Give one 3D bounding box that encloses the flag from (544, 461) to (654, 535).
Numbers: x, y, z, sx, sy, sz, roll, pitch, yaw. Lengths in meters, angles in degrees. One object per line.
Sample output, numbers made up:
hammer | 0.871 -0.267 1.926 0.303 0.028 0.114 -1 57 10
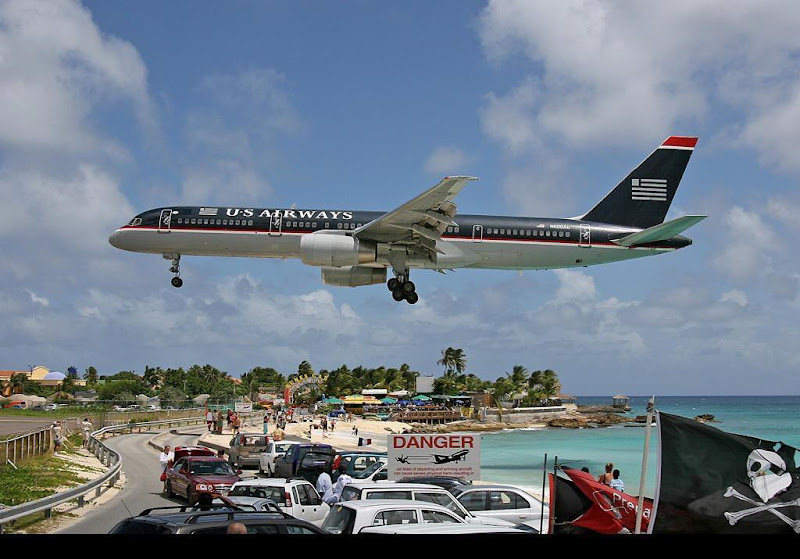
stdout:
flag | 5.171 5.790 18.523 3.694 1.441 1.524 8 -6 -8
